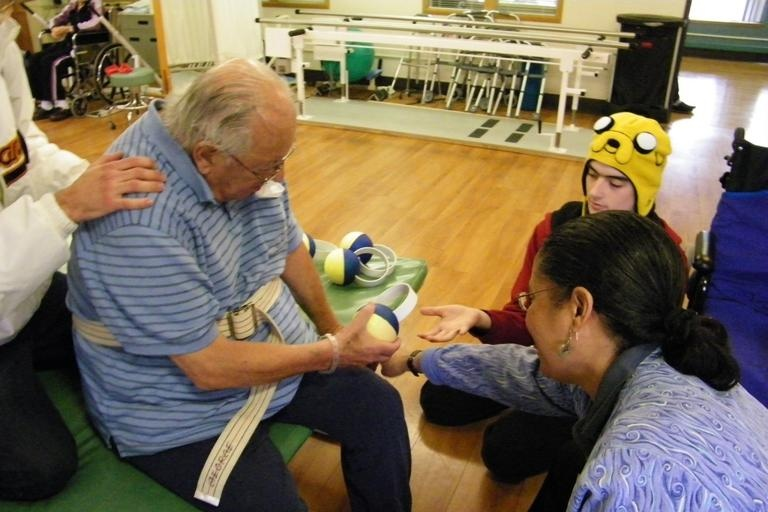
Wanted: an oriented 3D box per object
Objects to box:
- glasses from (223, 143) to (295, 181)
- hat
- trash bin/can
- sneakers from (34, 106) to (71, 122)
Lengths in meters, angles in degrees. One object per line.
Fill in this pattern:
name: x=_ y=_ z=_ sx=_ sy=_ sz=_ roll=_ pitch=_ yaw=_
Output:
glasses: x=-0.328 y=-0.265 z=1.468 sx=0.085 sy=0.097 sz=0.197 roll=14 pitch=24 yaw=33
hat: x=1.036 y=-0.397 z=2.150 sx=0.339 sy=0.391 sz=0.319 roll=-14 pitch=29 yaw=-25
trash bin/can: x=2.913 y=-2.103 z=5.723 sx=0.713 sy=1.134 sz=0.439 roll=7 pitch=23 yaw=19
sneakers: x=-3.733 y=-1.603 z=5.821 sx=0.189 sy=0.144 sz=0.381 roll=4 pitch=7 yaw=18
